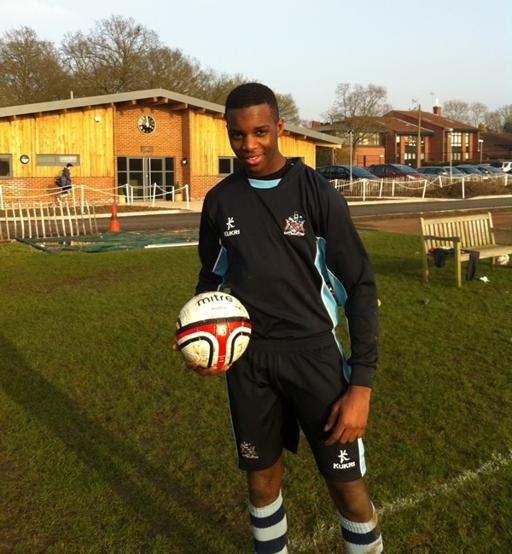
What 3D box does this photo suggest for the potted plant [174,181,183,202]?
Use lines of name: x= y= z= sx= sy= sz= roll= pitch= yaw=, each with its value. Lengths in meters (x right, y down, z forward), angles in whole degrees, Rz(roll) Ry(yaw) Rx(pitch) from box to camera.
potted plant: x=-5.326 y=-5.812 z=32.058 sx=0.730 sy=1.103 sz=1.895 roll=-2 pitch=12 yaw=-8

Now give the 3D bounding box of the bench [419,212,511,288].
bench: x=4.364 y=-0.515 z=9.681 sx=1.981 sy=1.128 sz=0.812 roll=-10 pitch=11 yaw=-40

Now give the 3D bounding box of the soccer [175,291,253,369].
soccer: x=-0.149 y=0.187 z=1.721 sx=0.269 sy=0.304 sz=0.245 roll=-3 pitch=-4 yaw=-5

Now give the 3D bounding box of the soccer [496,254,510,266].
soccer: x=5.475 y=-0.452 z=10.275 sx=0.295 sy=0.371 sz=0.137 roll=-3 pitch=-23 yaw=27
